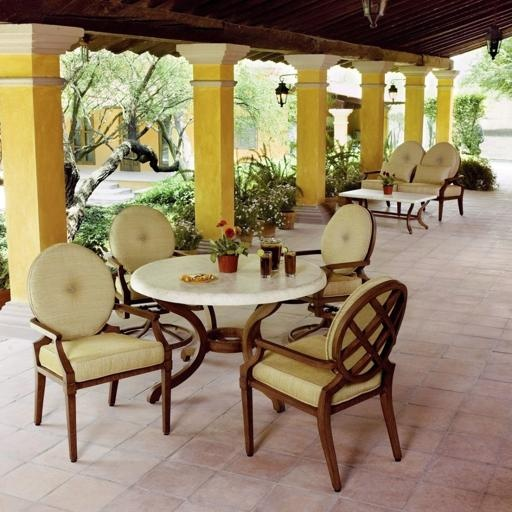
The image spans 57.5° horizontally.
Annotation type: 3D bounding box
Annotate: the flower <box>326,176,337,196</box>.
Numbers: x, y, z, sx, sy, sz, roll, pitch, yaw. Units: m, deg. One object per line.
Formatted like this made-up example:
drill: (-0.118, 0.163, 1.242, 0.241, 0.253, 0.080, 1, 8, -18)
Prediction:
flower: (1.623, -1.465, 10.074, 0.226, 0.400, 0.432, 0, 6, 7)

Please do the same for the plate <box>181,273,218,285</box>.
plate: (-0.354, 0.144, 2.874, 0.201, 0.041, 0.180, 1, 5, 18)

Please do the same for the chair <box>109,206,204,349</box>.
chair: (-0.847, 0.174, 3.934, 0.938, 1.095, 0.852, 8, 12, 21)

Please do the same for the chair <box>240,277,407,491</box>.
chair: (0.341, 0.554, 2.257, 0.677, 0.753, 0.591, 0, 1, 39)

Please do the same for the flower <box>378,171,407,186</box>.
flower: (2.793, -1.584, 9.629, 0.599, 0.141, 0.495, -4, 20, -24)

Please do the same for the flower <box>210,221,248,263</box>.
flower: (-0.193, -0.064, 3.121, 0.289, 0.236, 0.239, -1, 21, -22)

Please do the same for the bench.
bench: (3.276, -1.539, 9.815, 2.667, 1.752, 1.570, 8, 17, 40)

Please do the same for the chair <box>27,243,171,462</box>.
chair: (-0.844, 0.449, 2.546, 0.651, 1.014, 0.694, -5, 8, -32)

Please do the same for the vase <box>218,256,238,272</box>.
vase: (-0.187, 0.057, 3.132, 0.135, 0.078, 0.120, 4, 7, 29)

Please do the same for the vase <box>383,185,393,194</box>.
vase: (2.573, -1.280, 9.076, 0.223, 0.168, 0.168, 2, 0, -26)
